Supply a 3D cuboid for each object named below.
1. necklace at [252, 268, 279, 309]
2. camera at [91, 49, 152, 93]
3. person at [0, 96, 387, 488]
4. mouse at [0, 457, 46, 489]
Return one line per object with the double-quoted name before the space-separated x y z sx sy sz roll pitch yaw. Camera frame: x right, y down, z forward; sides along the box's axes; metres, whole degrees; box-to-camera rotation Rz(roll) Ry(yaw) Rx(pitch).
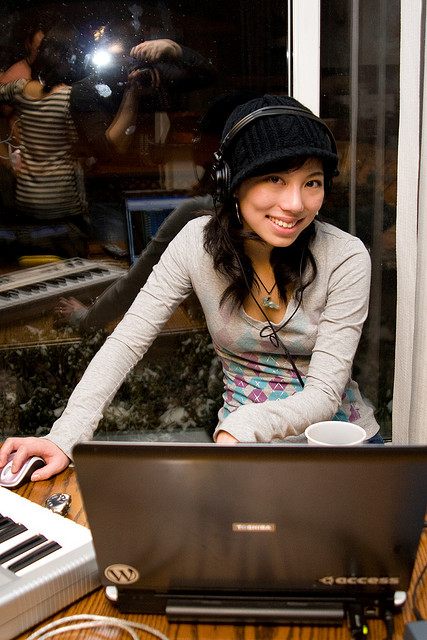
"necklace" 0.142 -0.081 1.345 0.040 0.095 0.083 -8 14 -15
"camera" -0.367 -0.980 2.006 0.245 0.120 0.127 -4 14 -12
"person" 0.030 -0.066 1.160 0.646 0.859 0.701 2 15 23
"mouse" -0.377 0.290 0.990 0.043 0.023 0.073 6 32 35
